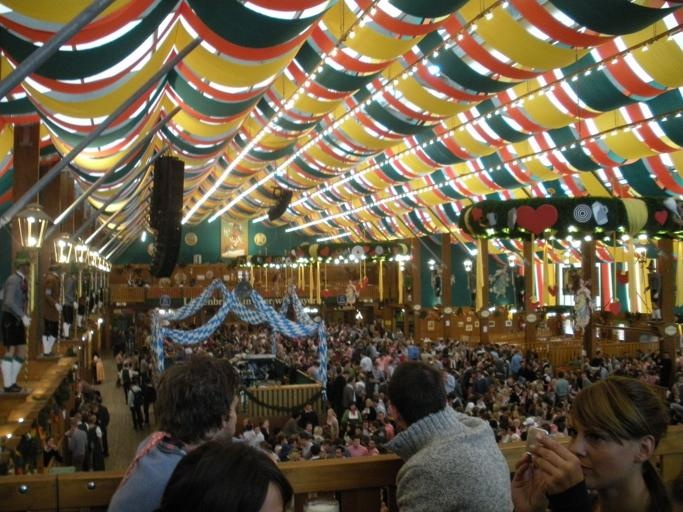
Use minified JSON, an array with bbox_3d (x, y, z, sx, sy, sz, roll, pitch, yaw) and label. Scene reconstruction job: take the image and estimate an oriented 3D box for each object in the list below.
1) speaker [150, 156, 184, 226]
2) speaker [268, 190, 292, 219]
[{"bbox_3d":[-2.979,-1.106,10.574,0.402,1.307,1.250,1,-7,-14],"label":"speaker"},{"bbox_3d":[-2.300,-1.967,23.282,0.927,0.850,2.757,-4,-1,-10],"label":"speaker"}]
